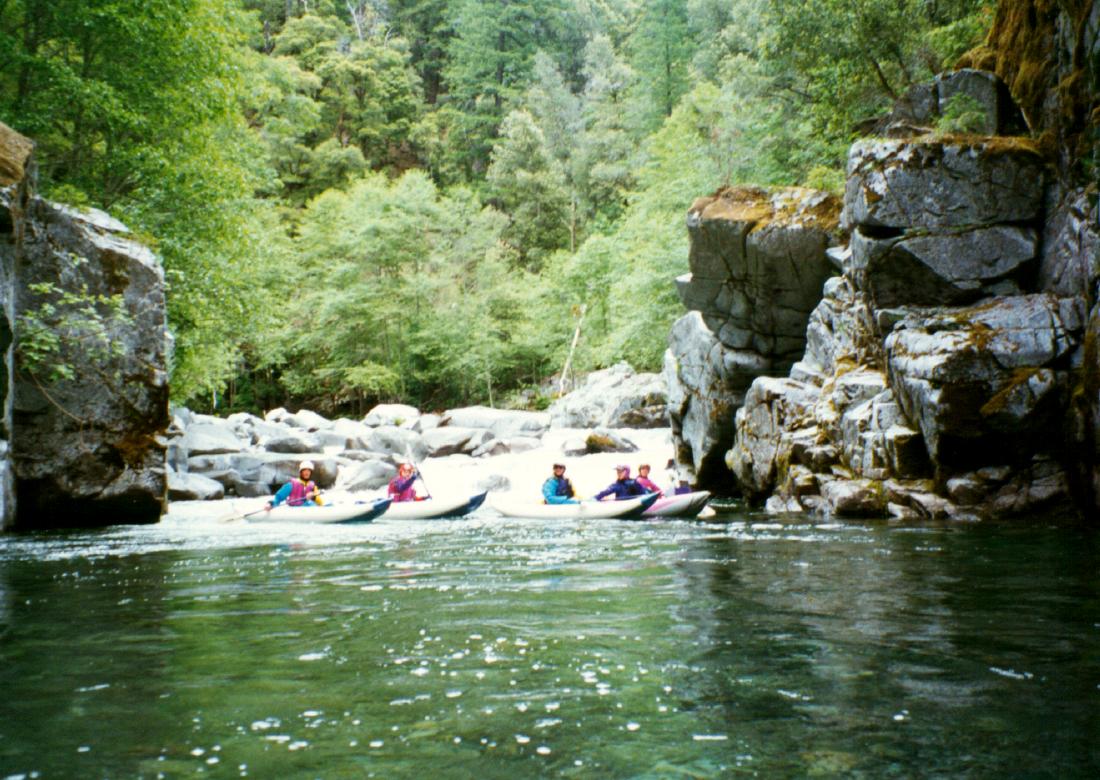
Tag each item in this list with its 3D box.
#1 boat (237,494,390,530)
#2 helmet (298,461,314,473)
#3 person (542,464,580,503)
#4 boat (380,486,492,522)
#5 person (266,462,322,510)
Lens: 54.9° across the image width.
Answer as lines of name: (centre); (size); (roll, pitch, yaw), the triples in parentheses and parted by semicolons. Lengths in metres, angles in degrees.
boat: (-4.444, 2.290, 19.512); (2.883, 0.511, 0.892); (-5, -1, 7)
helmet: (-4.532, 1.417, 19.726); (0.286, 0.158, 0.422); (4, -3, -25)
person: (0.170, 1.836, 20.328); (0.764, 1.095, 0.676); (-3, -2, 6)
boat: (-2.175, 2.214, 20.098); (2.072, 0.417, 0.672); (-8, 9, -4)
person: (-5.259, 1.958, 21.554); (0.380, 1.211, 0.788); (32, 16, 38)
